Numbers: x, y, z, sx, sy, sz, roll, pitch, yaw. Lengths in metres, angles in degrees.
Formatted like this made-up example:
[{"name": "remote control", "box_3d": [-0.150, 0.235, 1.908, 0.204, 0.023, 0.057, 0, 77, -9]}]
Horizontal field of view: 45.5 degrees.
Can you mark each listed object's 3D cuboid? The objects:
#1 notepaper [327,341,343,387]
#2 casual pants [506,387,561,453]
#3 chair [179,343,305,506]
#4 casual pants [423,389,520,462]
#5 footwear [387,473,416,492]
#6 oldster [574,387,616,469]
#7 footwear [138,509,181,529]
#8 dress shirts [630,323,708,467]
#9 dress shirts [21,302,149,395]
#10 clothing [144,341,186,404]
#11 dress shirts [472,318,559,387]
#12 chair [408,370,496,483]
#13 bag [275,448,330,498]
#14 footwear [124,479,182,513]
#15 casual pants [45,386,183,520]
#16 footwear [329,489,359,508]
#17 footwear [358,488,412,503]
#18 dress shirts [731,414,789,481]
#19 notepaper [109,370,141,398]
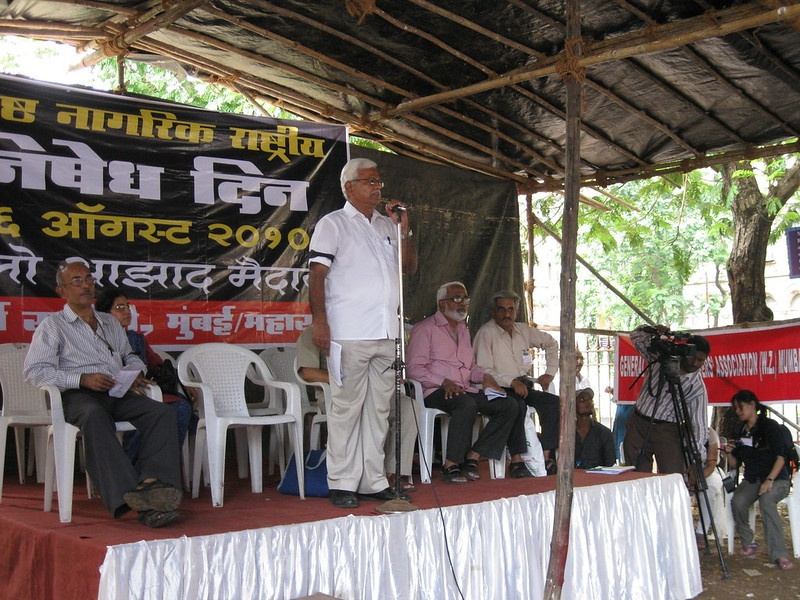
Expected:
[{"name": "notepaper", "box_3d": [-0.442, 0.443, 6.644, 0.025, 0.249, 0.236, 5, 12, -16]}, {"name": "casual pants", "box_3d": [1.151, 1.067, 8.403, 0.635, 0.577, 0.536, 2, -6, -27]}, {"name": "chair", "box_3d": [-1.252, 0.904, 7.246, 0.835, 1.143, 0.874, 3, -5, -40]}, {"name": "casual pants", "box_3d": [0.654, 1.008, 7.923, 0.773, 0.637, 0.520, 8, -7, -9]}, {"name": "footwear", "box_3d": [-0.005, 1.393, 7.171, 0.102, 0.109, 0.289, 2, -15, -23]}, {"name": "oldster", "box_3d": [1.821, 1.236, 9.143, 0.299, 0.762, 0.590, -1, -7, 37]}, {"name": "footwear", "box_3d": [-1.522, 1.406, 6.100, 0.284, 0.180, 0.106, -8, -8, 19]}, {"name": "dress shirts", "box_3d": [2.265, 0.864, 8.175, 0.699, 1.254, 0.750, 2, -6, 16]}, {"name": "dress shirts", "box_3d": [-2.276, 0.345, 6.966, 0.478, 0.552, 0.944, 1, 3, 34]}, {"name": "clothing", "box_3d": [-1.798, 0.633, 7.730, 0.370, 0.389, 0.469, 10, -8, -27]}, {"name": "dress shirts", "box_3d": [1.035, 0.488, 8.745, 1.007, 0.616, 0.493, -1, 7, -37]}, {"name": "chair", "box_3d": [0.393, 0.985, 7.977, 0.714, 0.841, 0.679, 3, 11, 33]}, {"name": "bag", "box_3d": [-0.719, 1.307, 7.073, 0.406, 0.319, 0.174, -1, -13, 33]}, {"name": "footwear", "box_3d": [-1.562, 1.265, 6.108, 0.357, 0.166, 0.155, 1, 18, -1]}, {"name": "casual pants", "box_3d": [-1.861, 1.136, 6.845, 0.947, 1.148, 0.858, 6, -15, -33]}, {"name": "footwear", "box_3d": [-0.385, 1.382, 6.544, 0.091, 0.082, 0.203, 7, -14, -36]}, {"name": "footwear", "box_3d": [-0.132, 1.366, 6.582, 0.380, 0.137, 0.125, -5, -12, 13]}, {"name": "dress shirts", "box_3d": [3.274, 1.376, 8.721, 0.307, 0.509, 0.504, 15, -24, -19]}, {"name": "notepaper", "box_3d": [-1.925, 0.593, 6.717, 0.190, 0.188, 0.068, 13, -18, 26]}]
